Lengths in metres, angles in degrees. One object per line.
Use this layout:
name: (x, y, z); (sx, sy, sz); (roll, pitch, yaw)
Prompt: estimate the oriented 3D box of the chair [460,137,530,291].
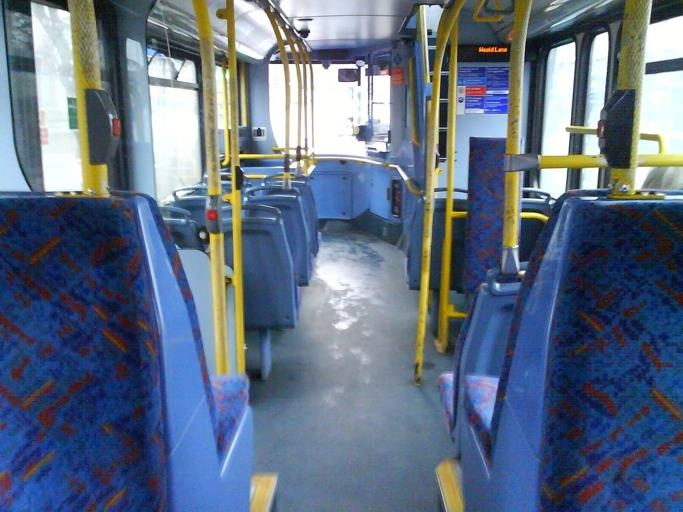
chair: (1.007, -0.423, 3.615); (0.252, 1.379, 0.431); (6, 52, 17)
